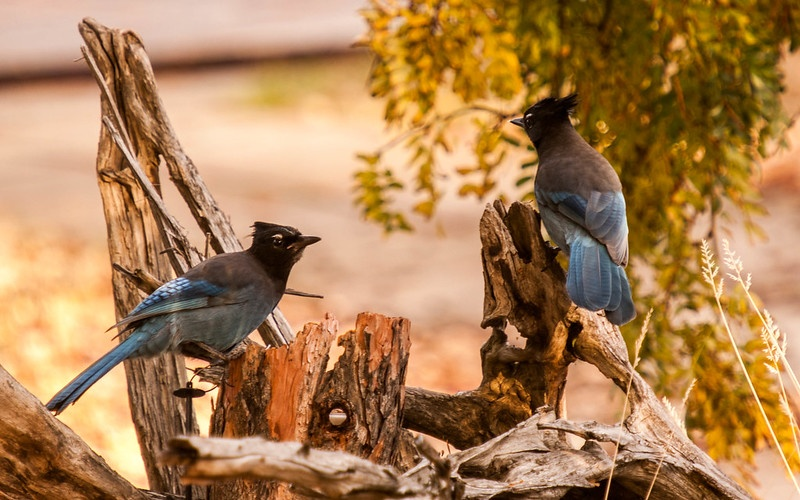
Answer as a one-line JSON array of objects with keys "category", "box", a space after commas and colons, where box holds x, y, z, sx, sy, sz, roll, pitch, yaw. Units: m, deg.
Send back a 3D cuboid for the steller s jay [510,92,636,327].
[{"category": "steller s jay", "box": [1.758, -0.410, 11.821, 0.903, 2.552, 0.562, -5, -25, 7]}]
